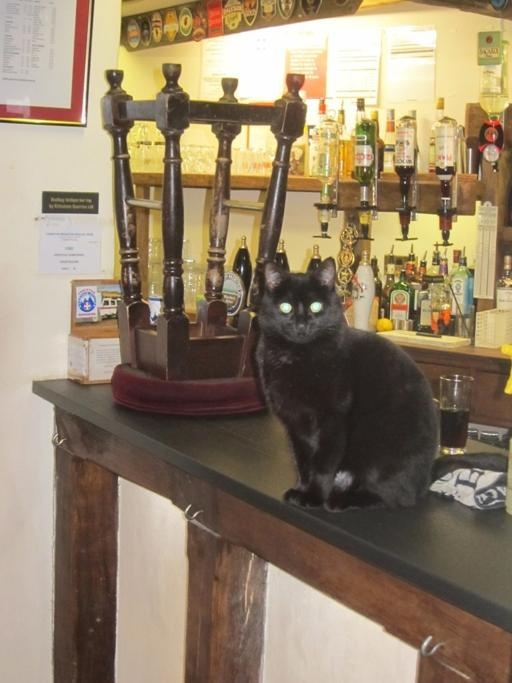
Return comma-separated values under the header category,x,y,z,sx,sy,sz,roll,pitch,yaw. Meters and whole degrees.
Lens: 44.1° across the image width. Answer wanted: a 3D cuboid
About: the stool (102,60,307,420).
category,x,y,z,sx,sy,sz,roll,pitch,yaw
stool,-0.124,-0.212,1.336,0.407,0.650,0.414,8,14,19
